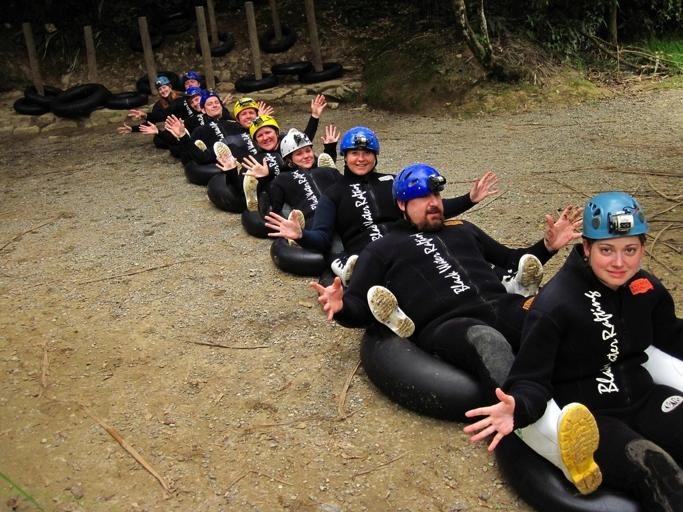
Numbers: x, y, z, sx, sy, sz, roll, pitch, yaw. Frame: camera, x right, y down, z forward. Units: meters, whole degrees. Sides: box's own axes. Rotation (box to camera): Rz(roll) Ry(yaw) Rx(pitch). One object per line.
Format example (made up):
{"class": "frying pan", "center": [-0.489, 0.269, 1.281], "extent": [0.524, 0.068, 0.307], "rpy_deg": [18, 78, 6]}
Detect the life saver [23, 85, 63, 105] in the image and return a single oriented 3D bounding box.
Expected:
{"class": "life saver", "center": [-6.128, -3.376, 13.476], "extent": [0.754, 0.170, 0.728], "rpy_deg": [-17, 32, -40]}

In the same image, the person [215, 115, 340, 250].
{"class": "person", "center": [-0.470, -0.891, 6.637], "extent": [1.402, 0.841, 1.497], "rpy_deg": [-20, 31, -17]}

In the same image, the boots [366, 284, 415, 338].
{"class": "boots", "center": [0.341, 0.374, 4.259], "extent": [0.168, 0.387, 0.220], "rpy_deg": [-3, 46, 49]}

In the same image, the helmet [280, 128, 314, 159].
{"class": "helmet", "center": [-0.476, -1.145, 6.586], "extent": [0.277, 0.207, 0.333], "rpy_deg": [-24, 9, 4]}

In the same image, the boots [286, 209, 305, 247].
{"class": "boots", "center": [-0.417, -0.270, 5.842], "extent": [0.148, 0.363, 0.187], "rpy_deg": [8, -8, -35]}

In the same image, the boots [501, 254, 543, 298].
{"class": "boots", "center": [1.279, 0.147, 4.612], "extent": [0.175, 0.415, 0.199], "rpy_deg": [-6, 26, -14]}

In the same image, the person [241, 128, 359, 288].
{"class": "person", "center": [-0.262, -0.526, 6.198], "extent": [1.227, 0.753, 1.639], "rpy_deg": [-10, 28, -19]}

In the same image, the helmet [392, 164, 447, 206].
{"class": "helmet", "center": [0.573, -0.515, 4.632], "extent": [0.349, 0.232, 0.431], "rpy_deg": [-5, 5, -23]}

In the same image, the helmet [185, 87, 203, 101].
{"class": "helmet", "center": [-2.265, -2.515, 9.982], "extent": [0.260, 0.187, 0.296], "rpy_deg": [-5, 30, 4]}

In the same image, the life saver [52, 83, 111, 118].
{"class": "life saver", "center": [-5.163, -3.130, 13.024], "extent": [0.991, 0.214, 0.839], "rpy_deg": [-3, 30, 5]}

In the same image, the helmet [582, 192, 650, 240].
{"class": "helmet", "center": [1.527, -0.259, 3.626], "extent": [0.344, 0.194, 0.411], "rpy_deg": [-4, 15, 21]}

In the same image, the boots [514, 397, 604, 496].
{"class": "boots", "center": [1.205, 0.984, 3.523], "extent": [0.298, 0.574, 0.267], "rpy_deg": [-36, -1, 10]}

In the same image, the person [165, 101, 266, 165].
{"class": "person", "center": [-1.821, -1.675, 8.838], "extent": [1.335, 0.639, 1.210], "rpy_deg": [-13, 21, -23]}

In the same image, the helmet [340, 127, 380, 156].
{"class": "helmet", "center": [0.144, -1.006, 5.711], "extent": [0.443, 0.223, 0.389], "rpy_deg": [-2, 14, -12]}

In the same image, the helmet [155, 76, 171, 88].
{"class": "helmet", "center": [-3.004, -2.964, 10.888], "extent": [0.191, 0.163, 0.350], "rpy_deg": [-11, 18, -16]}

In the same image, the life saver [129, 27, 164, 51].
{"class": "life saver", "center": [-4.633, -5.159, 15.357], "extent": [0.835, 0.457, 0.669], "rpy_deg": [-7, 18, -8]}

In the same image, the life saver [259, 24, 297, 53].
{"class": "life saver", "center": [-1.454, -5.028, 14.905], "extent": [0.784, 0.597, 0.699], "rpy_deg": [-15, 21, -27]}

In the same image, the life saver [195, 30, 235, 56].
{"class": "life saver", "center": [-2.733, -4.940, 14.944], "extent": [0.552, 0.567, 0.964], "rpy_deg": [-7, 18, -5]}

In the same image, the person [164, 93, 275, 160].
{"class": "person", "center": [-1.631, -1.787, 9.041], "extent": [0.958, 0.836, 1.662], "rpy_deg": [21, 30, 35]}

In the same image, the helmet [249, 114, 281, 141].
{"class": "helmet", "center": [-0.844, -1.478, 7.347], "extent": [0.352, 0.220, 0.241], "rpy_deg": [10, 27, -5]}

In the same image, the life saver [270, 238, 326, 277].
{"class": "life saver", "center": [-0.582, 0.040, 6.486], "extent": [0.672, 0.284, 1.119], "rpy_deg": [4, -4, 8]}
